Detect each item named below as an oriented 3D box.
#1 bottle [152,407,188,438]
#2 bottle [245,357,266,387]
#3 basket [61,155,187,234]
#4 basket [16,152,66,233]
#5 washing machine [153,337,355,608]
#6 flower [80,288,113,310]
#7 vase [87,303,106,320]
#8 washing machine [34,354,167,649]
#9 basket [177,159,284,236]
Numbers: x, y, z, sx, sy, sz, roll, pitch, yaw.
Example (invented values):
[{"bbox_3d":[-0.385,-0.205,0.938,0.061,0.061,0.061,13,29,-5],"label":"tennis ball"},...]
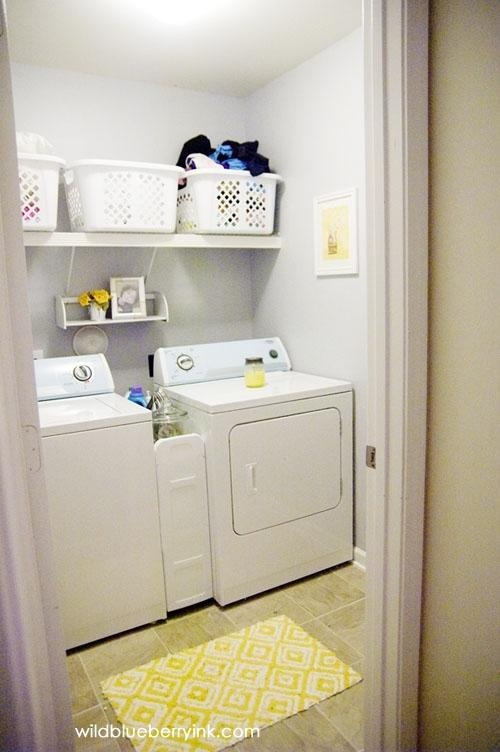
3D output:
[{"bbox_3d":[-0.328,0.190,2.304,0.114,0.116,0.115,-2,5,-33],"label":"bottle"},{"bbox_3d":[0.021,-0.016,2.435,0.100,0.154,0.106,0,1,0],"label":"bottle"},{"bbox_3d":[-0.504,-0.705,2.344,0.395,0.207,0.318,-5,10,-28],"label":"basket"},{"bbox_3d":[-0.775,-0.673,2.101,0.154,0.264,0.162,-5,7,-24],"label":"basket"},{"bbox_3d":[0.023,0.381,2.551,0.711,1.027,0.586,-7,13,-26],"label":"washing machine"},{"bbox_3d":[-0.684,-0.336,2.474,0.142,0.082,0.111,-3,7,-1],"label":"flower"},{"bbox_3d":[-0.666,-0.278,2.449,0.059,0.069,0.078,1,-3,24],"label":"vase"},{"bbox_3d":[-0.531,0.438,2.189,0.518,0.960,0.476,-5,5,-9],"label":"washing machine"},{"bbox_3d":[-0.086,-0.823,2.610,0.472,0.339,0.286,-5,7,-21],"label":"basket"}]
